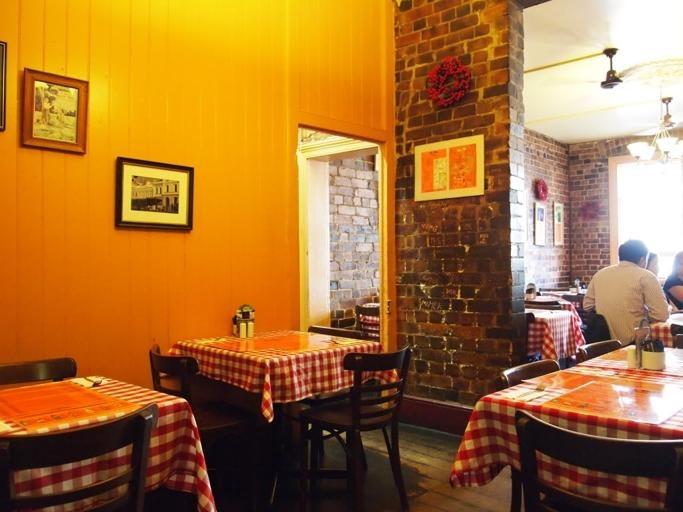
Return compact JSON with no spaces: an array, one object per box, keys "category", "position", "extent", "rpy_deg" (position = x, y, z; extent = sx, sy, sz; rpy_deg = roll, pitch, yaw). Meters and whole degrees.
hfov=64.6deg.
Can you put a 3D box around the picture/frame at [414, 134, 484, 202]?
[{"category":"picture/frame","position":[0.987,-0.782,4.794],"extent":[0.640,0.493,0.026],"rpy_deg":[0,0,40]}]

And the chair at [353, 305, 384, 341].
[{"category":"chair","position":[0.279,0.666,5.600],"extent":[0.237,0.262,0.286],"rpy_deg":[1,2,16]}]

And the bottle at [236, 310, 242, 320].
[{"category":"bottle","position":[-0.774,0.446,4.053],"extent":[0.055,0.106,0.055],"rpy_deg":[0,-4,0]}]

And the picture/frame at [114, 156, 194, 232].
[{"category":"picture/frame","position":[-1.332,-0.432,3.746],"extent":[0.536,0.475,0.041],"rpy_deg":[2,-4,-43]}]

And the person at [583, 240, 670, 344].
[{"category":"person","position":[2.470,0.313,4.705],"extent":[0.669,0.783,0.361],"rpy_deg":[-3,0,29]}]

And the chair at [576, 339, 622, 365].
[{"category":"chair","position":[1.612,0.591,3.377],"extent":[0.188,0.248,0.164],"rpy_deg":[-1,3,-25]}]

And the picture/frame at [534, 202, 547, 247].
[{"category":"picture/frame","position":[3.273,-0.514,8.869],"extent":[0.058,0.842,0.712],"rpy_deg":[-4,-4,36]}]

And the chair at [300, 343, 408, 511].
[{"category":"chair","position":[0.113,1.088,3.726],"extent":[0.721,1.000,1.099],"rpy_deg":[-3,0,3]}]
